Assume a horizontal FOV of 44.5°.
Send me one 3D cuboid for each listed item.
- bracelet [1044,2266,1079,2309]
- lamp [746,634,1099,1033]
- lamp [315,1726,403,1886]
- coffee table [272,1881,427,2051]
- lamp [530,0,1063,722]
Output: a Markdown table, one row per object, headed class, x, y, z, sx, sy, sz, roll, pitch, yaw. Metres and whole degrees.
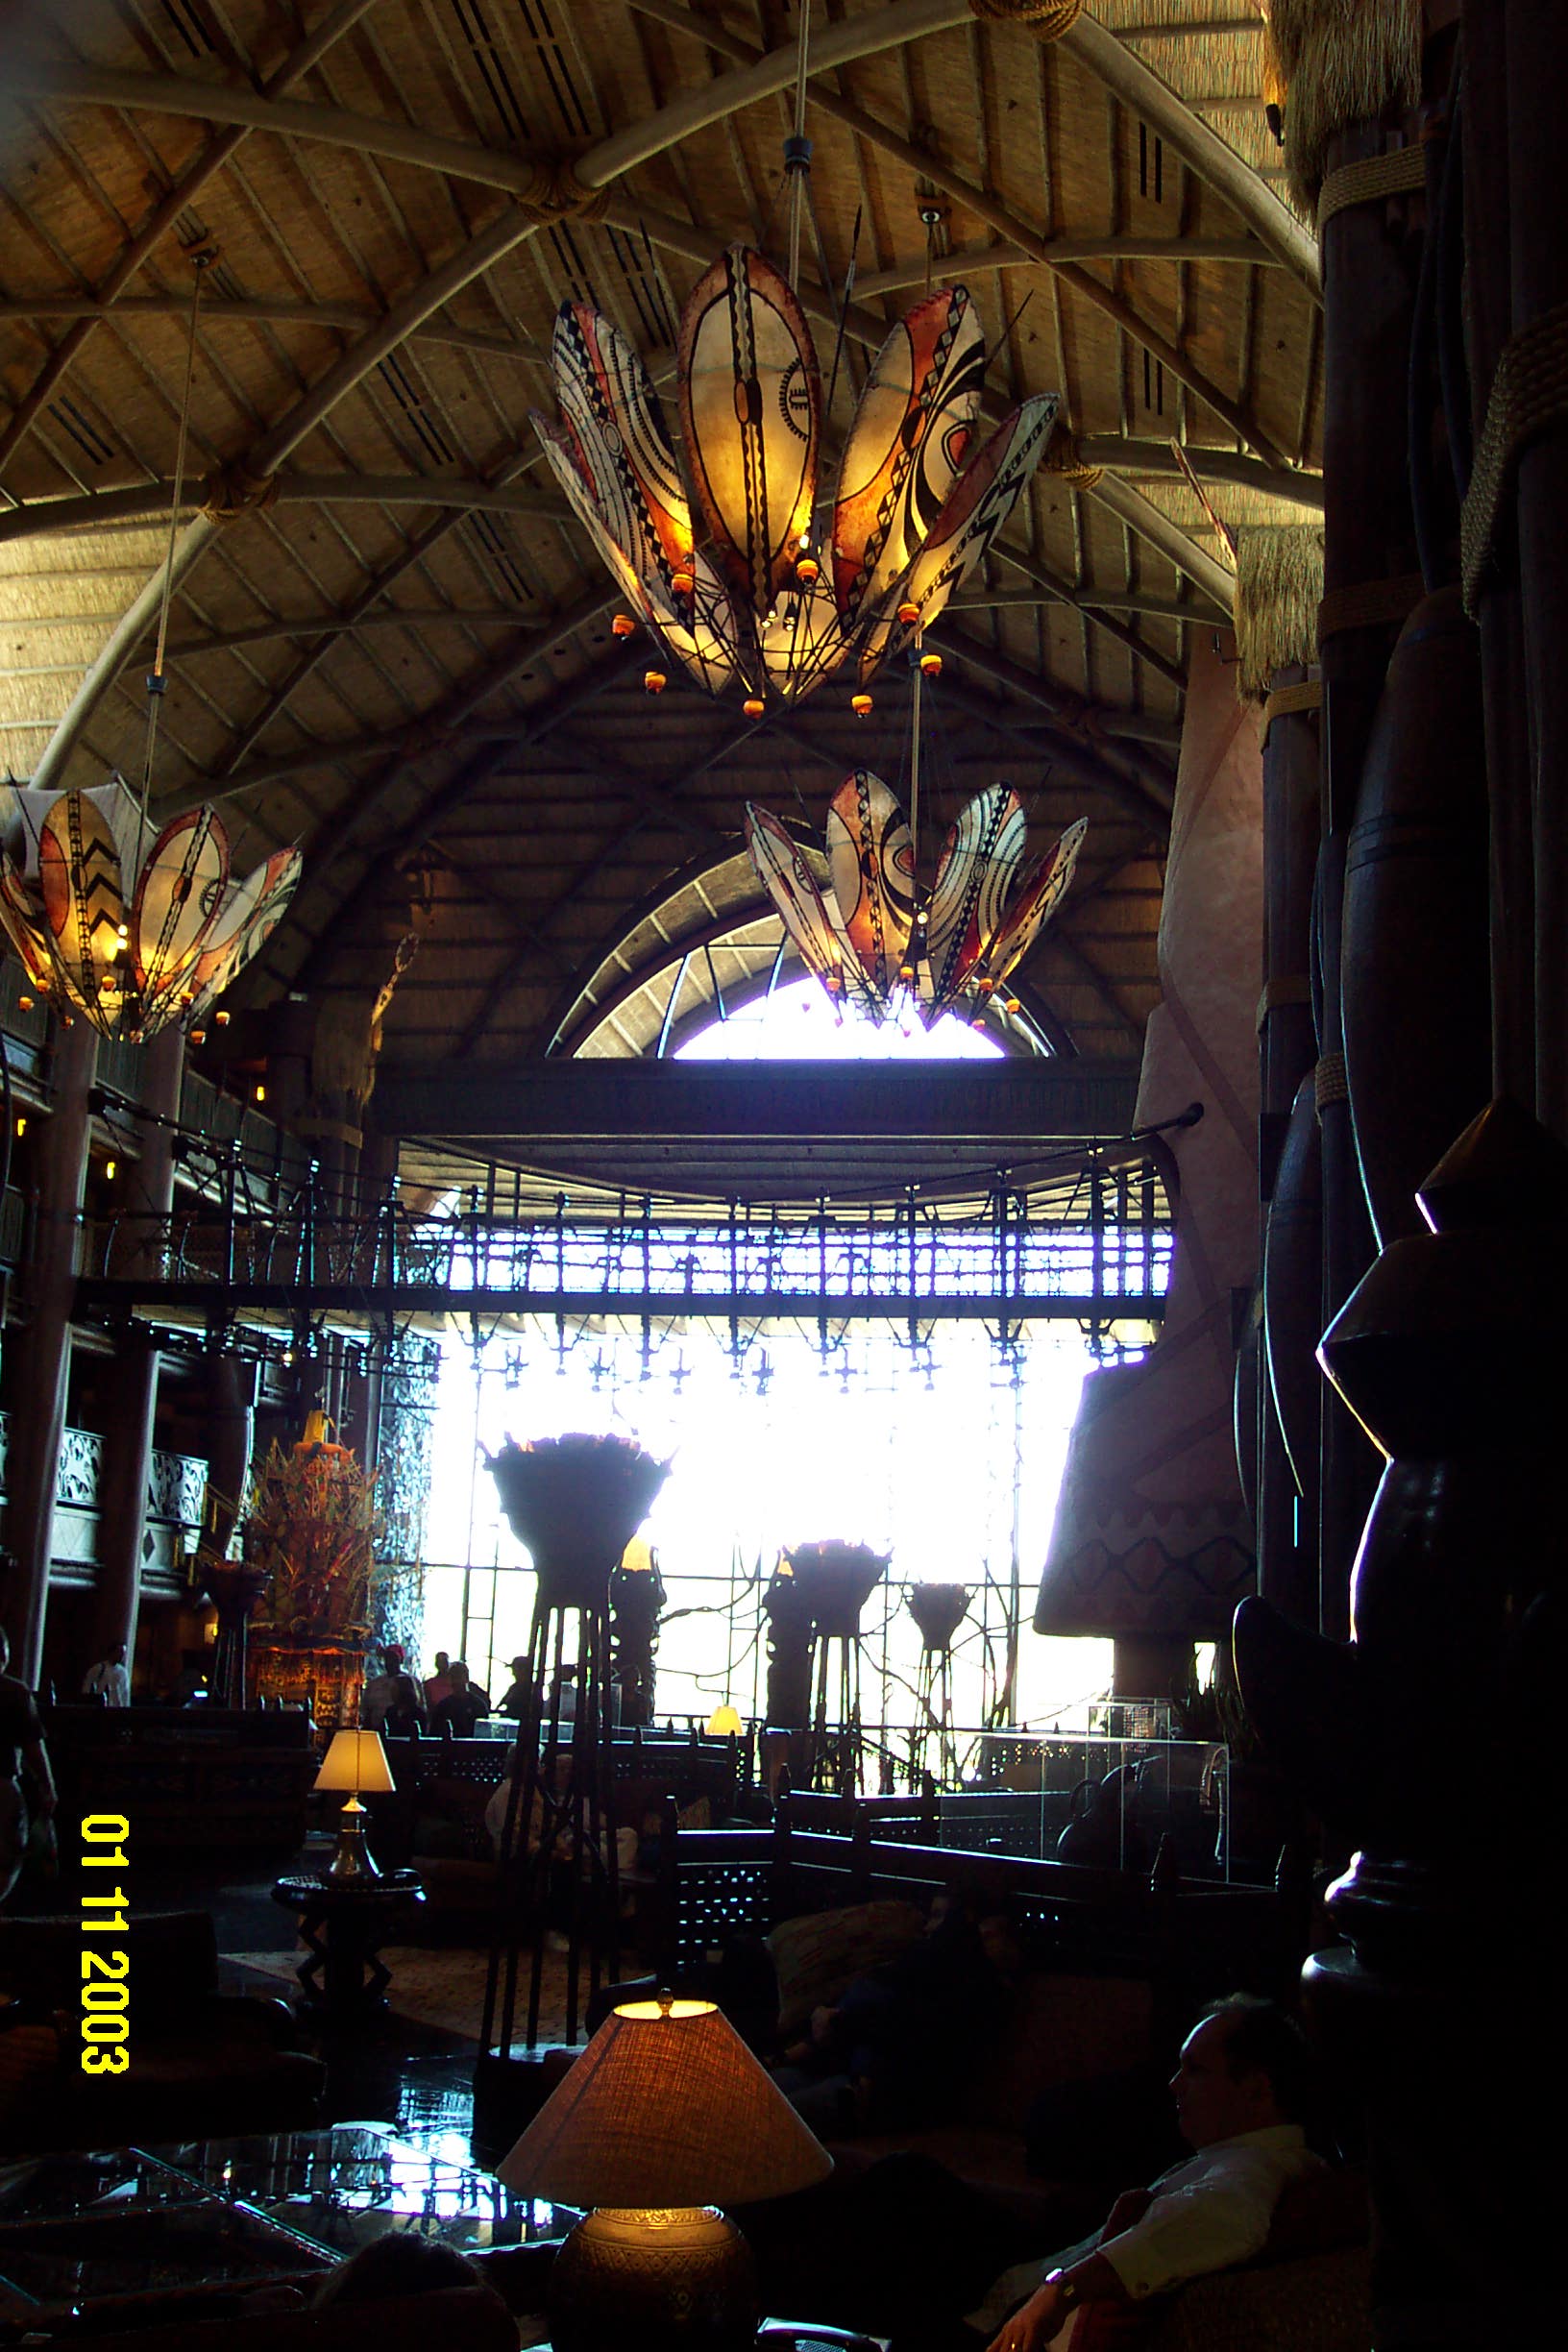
| class | x | y | z | sx | sy | sz | roll | pitch | yaw |
| --- | --- | --- | --- | --- | --- | --- | --- | --- | --- |
| bracelet | 0.434 | 1.739 | 2.966 | 0.031 | 0.039 | 0.043 | 4 | -15 | -1 |
| lamp | 0.869 | -2.386 | 12.218 | 1.905 | 2.818 | 2.034 | 3 | -7 | 6 |
| lamp | -1.981 | 2.932 | 8.788 | 0.346 | 0.675 | 0.340 | 7 | -21 | -22 |
| coffee table | -1.937 | 3.464 | 8.496 | 0.574 | 0.680 | 0.954 | 8 | -13 | -25 |
| lamp | 0.001 | -2.837 | 7.837 | 2.026 | 1.700 | 2.166 | 3 | 1 | 32 |
